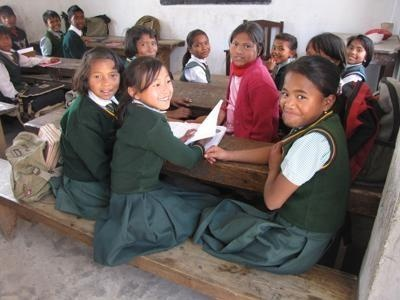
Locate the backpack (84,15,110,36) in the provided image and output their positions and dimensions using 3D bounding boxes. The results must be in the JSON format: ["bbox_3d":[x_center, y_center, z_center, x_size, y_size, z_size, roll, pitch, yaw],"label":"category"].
[{"bbox_3d":[-1.839,-2.211,5.988,0.420,0.284,0.193,-1,45,0],"label":"backpack"}]

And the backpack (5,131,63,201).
[{"bbox_3d":[-1.065,0.105,2.182,0.380,0.368,0.167,12,8,33],"label":"backpack"}]

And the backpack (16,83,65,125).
[{"bbox_3d":[-1.900,-0.592,4.058,0.455,0.210,0.547,19,34,30],"label":"backpack"}]
